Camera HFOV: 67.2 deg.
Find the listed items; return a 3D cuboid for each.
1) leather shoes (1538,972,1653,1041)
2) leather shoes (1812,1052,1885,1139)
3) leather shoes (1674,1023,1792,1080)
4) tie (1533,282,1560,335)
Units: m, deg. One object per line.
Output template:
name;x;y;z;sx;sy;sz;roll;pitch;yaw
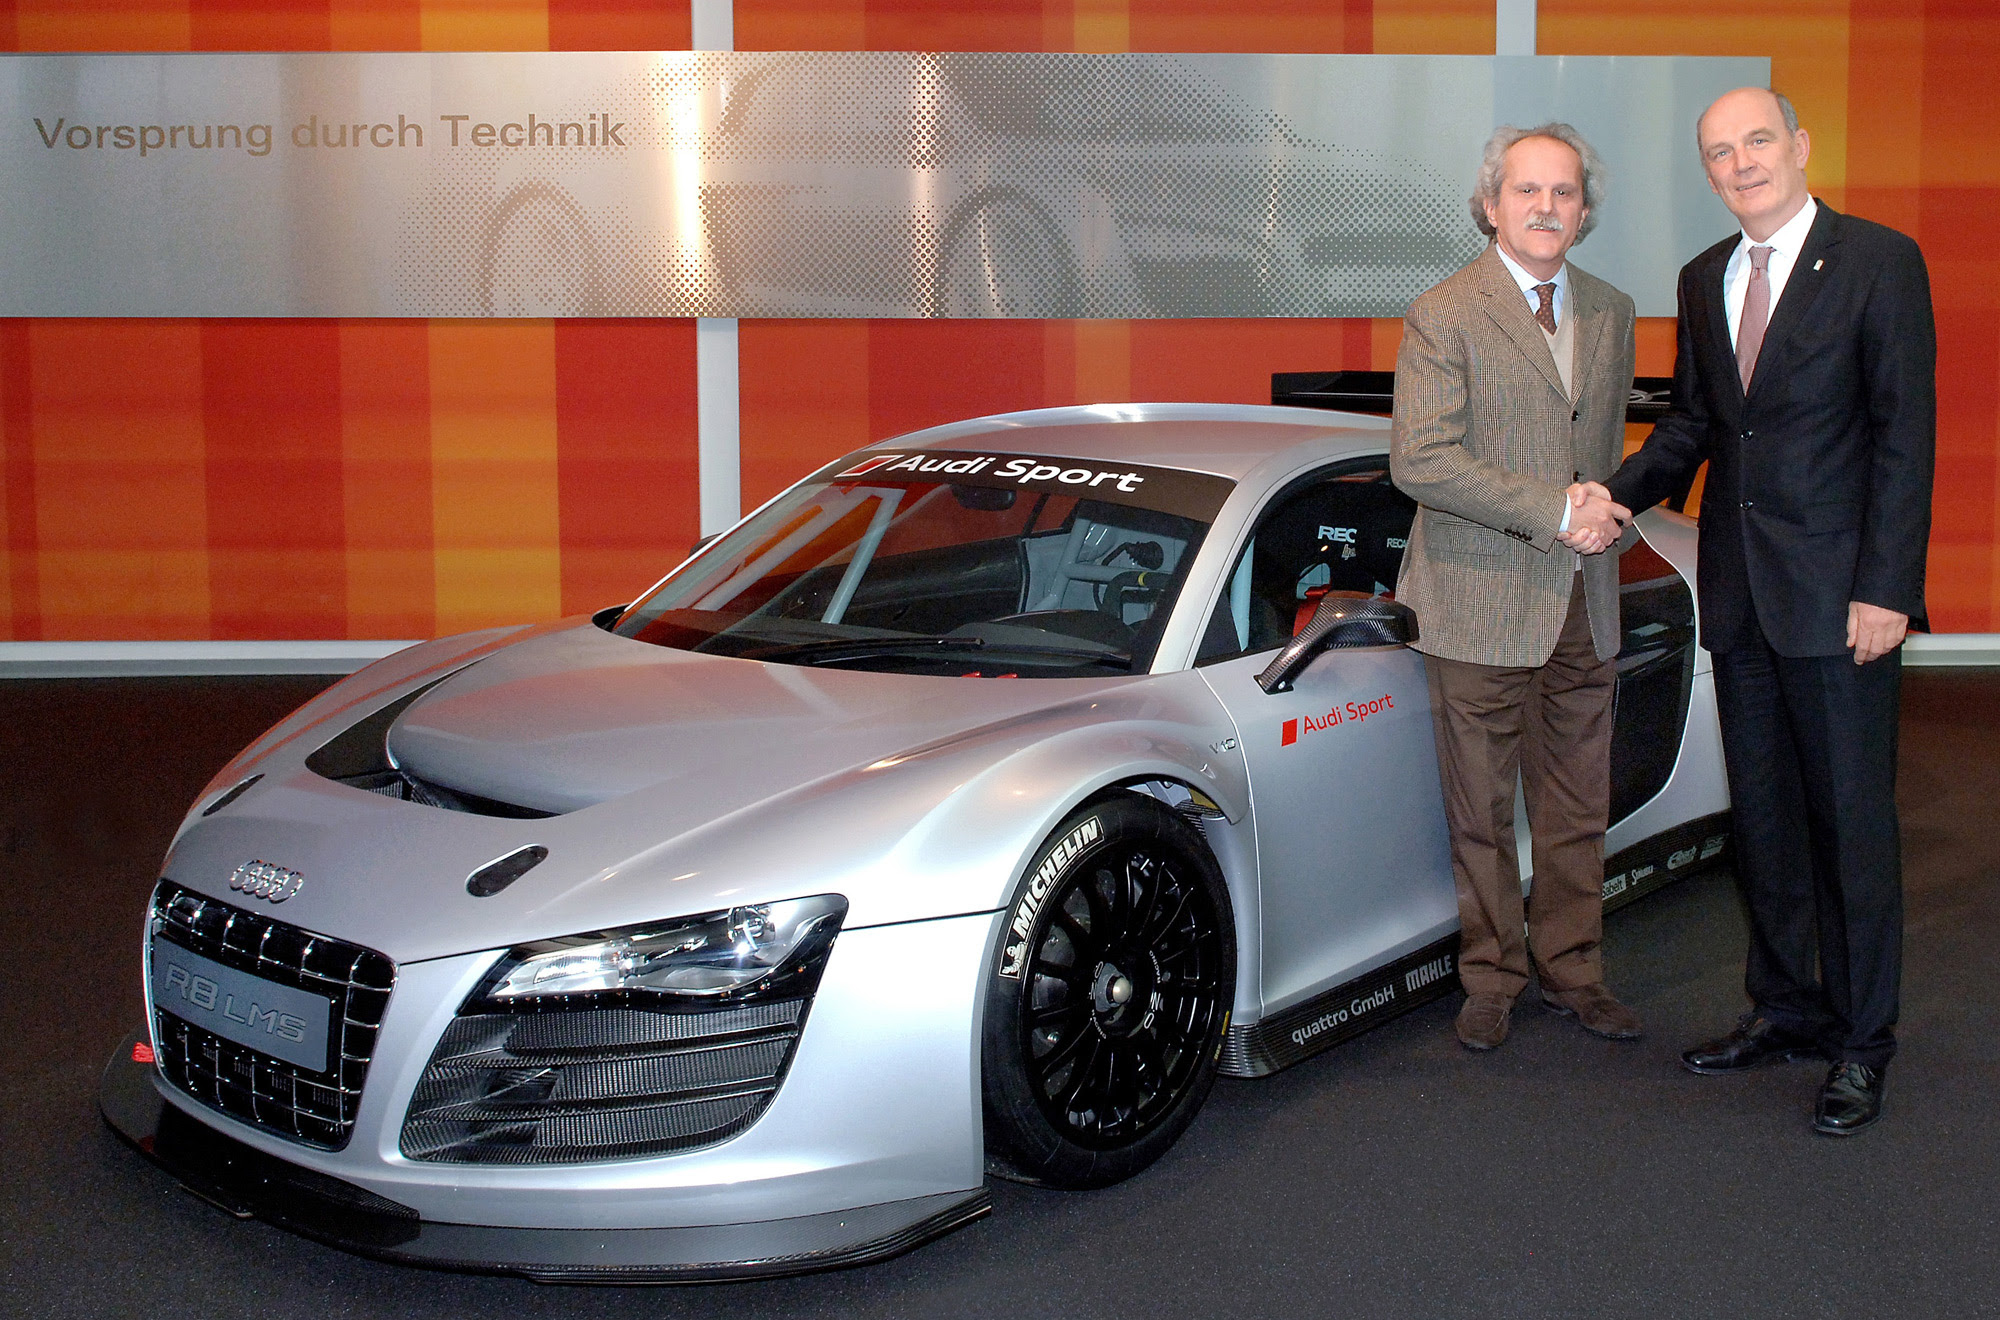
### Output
leather shoes;1.691;0.985;4.309;0.121;0.113;0.312;-18;19;-35
leather shoes;2.167;1.083;3.809;0.109;0.113;0.321;-1;11;38
leather shoes;2.003;1.042;4.037;0.358;0.121;0.118;-2;17;-8
tie;1.498;-0.949;4.091;0.094;0.141;0.040;-8;12;-28
